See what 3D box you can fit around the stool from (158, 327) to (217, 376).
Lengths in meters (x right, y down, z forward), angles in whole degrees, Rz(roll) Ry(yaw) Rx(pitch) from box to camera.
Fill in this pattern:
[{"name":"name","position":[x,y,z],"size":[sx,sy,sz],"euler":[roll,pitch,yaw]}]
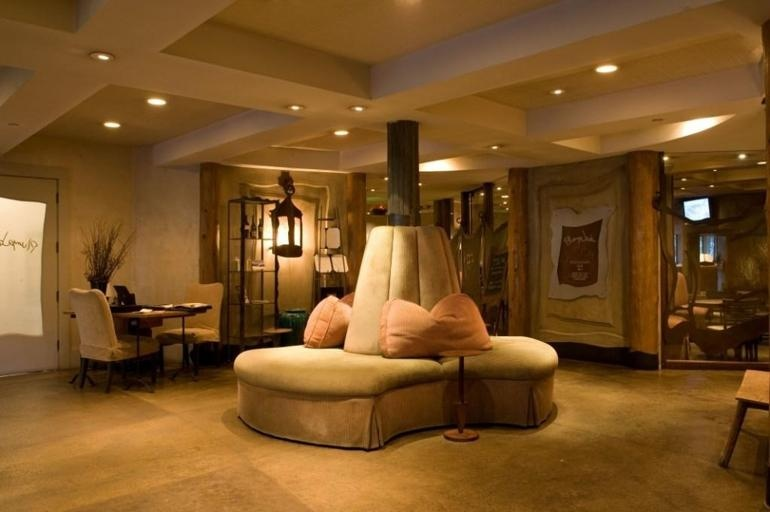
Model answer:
[{"name":"stool","position":[-2.801,1.238,7.624],"size":[0.661,0.456,0.706],"euler":[-3,-6,3]}]

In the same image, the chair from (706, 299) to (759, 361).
[{"name":"chair","position":[4.695,1.085,7.743],"size":[0.656,0.728,0.541],"euler":[2,-5,5]}]

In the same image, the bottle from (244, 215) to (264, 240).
[{"name":"bottle","position":[-1.934,-0.409,8.397],"size":[0.143,0.417,0.396],"euler":[0,-2,38]}]

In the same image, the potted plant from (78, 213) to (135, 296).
[{"name":"potted plant","position":[-3.982,0.079,8.152],"size":[0.611,0.996,0.631],"euler":[-5,-15,38]}]

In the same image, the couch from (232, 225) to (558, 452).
[{"name":"couch","position":[0.354,0.656,5.653],"size":[2.683,1.504,2.084],"euler":[4,-5,-38]}]

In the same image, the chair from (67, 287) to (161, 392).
[{"name":"chair","position":[-3.275,0.965,6.908],"size":[0.696,1.147,0.827],"euler":[-1,0,23]}]
